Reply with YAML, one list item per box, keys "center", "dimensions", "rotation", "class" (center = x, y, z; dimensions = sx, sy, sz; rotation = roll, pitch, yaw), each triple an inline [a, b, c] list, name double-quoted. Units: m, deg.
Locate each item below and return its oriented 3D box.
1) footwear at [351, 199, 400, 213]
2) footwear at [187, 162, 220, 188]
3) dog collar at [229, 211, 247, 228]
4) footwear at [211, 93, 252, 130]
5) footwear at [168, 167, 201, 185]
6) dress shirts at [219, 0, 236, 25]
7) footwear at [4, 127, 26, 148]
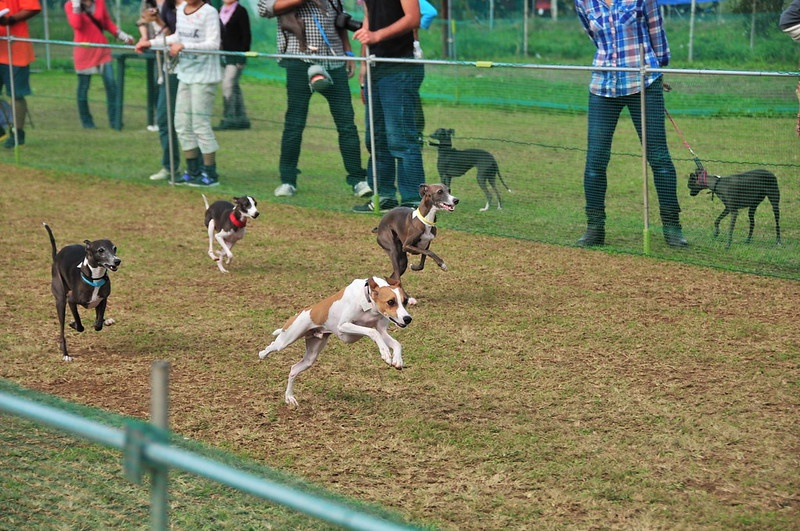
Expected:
- center: [-0.301, -0.814, 16.585]
  dimensions: [0.666, 0.240, 0.215]
  rotation: [1, 8, 12]
  class: "footwear"
- center: [-2.794, -1.272, 17.697]
  dimensions: [0.582, 0.357, 0.221]
  rotation: [6, 14, 13]
  class: "footwear"
- center: [-1.914, -0.564, 14.672]
  dimensions: [0.171, 0.101, 0.189]
  rotation: [29, 1, -43]
  class: "dog collar"
- center: [-2.503, -2.190, 17.659]
  dimensions: [0.623, 0.613, 0.315]
  rotation: [-9, 22, -36]
  class: "footwear"
- center: [-3.069, -1.282, 17.865]
  dimensions: [0.494, 0.274, 0.171]
  rotation: [6, 11, 9]
  class: "footwear"
- center: [-2.500, -3.702, 18.093]
  dimensions: [0.252, 0.307, 0.121]
  rotation: [10, 11, 18]
  class: "dress shirts"
- center: [-5.963, -1.968, 19.102]
  dimensions: [0.362, 0.312, 0.216]
  rotation: [8, 3, -3]
  class: "footwear"
